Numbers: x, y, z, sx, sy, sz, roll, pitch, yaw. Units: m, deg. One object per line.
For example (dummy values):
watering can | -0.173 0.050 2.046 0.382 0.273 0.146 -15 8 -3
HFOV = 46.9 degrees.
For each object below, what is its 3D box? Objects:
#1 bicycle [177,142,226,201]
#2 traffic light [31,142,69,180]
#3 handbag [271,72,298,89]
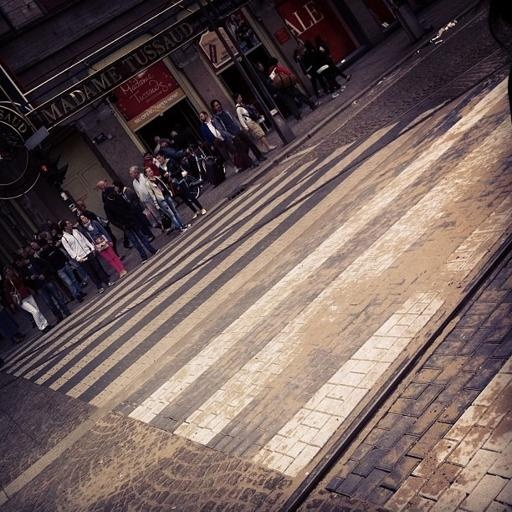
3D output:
bicycle | -1.765 -2.915 19.238 1.328 1.244 2.011 -42 14 20
traffic light | -7.965 -3.610 22.719 1.102 1.198 0.517 -26 15 -32
handbag | 0.841 -5.644 18.896 0.950 0.387 0.739 -9 43 -14
